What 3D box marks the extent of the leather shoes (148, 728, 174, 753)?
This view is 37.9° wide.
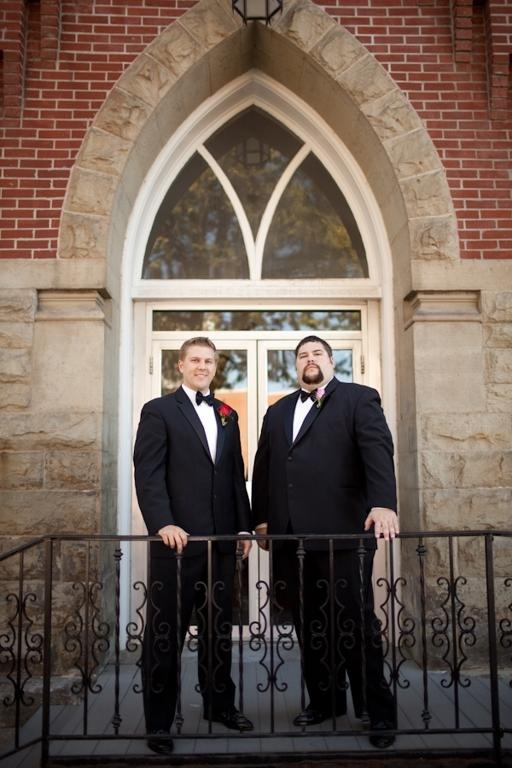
[{"bbox_3d":[-0.375,1.406,2.948,0.110,0.060,0.169,3,0,-13],"label":"leather shoes"}]

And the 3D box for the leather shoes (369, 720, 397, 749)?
[{"bbox_3d":[0.521,1.424,3.026,0.097,0.048,0.125,0,-11,1],"label":"leather shoes"}]

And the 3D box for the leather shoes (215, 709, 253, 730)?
[{"bbox_3d":[-0.095,1.434,3.178,0.229,0.090,0.079,-17,-22,40],"label":"leather shoes"}]

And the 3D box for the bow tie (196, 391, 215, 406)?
[{"bbox_3d":[-0.245,0.068,3.524,0.068,0.053,0.016,3,-2,-24],"label":"bow tie"}]

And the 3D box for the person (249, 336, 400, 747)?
[{"bbox_3d":[0.300,0.632,3.311,0.819,1.769,0.473,-10,-14,36],"label":"person"}]

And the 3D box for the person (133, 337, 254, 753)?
[{"bbox_3d":[-0.268,0.636,3.308,0.614,1.754,0.475,4,-13,-31],"label":"person"}]

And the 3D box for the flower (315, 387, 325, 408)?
[{"bbox_3d":[0.295,0.057,3.446,0.032,0.067,0.066,6,4,-35],"label":"flower"}]

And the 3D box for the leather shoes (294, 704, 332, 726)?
[{"bbox_3d":[0.245,1.396,3.188,0.203,0.078,0.096,7,-14,-22],"label":"leather shoes"}]
